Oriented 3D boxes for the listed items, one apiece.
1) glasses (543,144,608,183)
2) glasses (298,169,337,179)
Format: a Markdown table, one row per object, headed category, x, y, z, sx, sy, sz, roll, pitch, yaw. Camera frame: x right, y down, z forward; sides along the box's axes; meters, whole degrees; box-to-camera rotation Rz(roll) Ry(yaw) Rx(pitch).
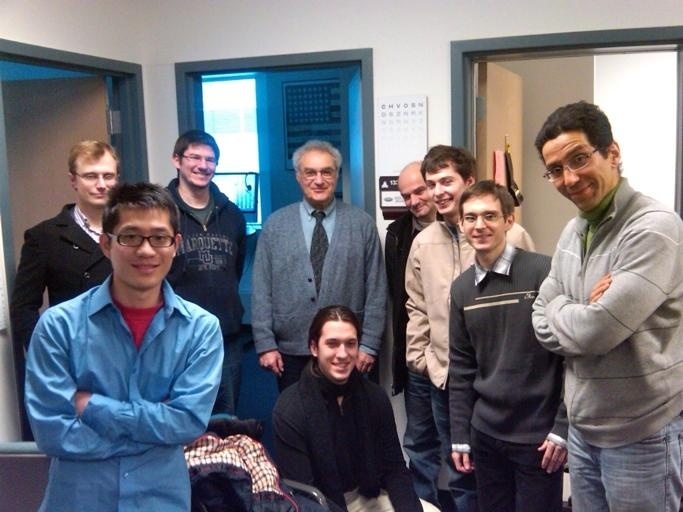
| category | x | y | z | sx | sy | sz | roll | pitch | yaw |
| --- | --- | --- | --- | --- | --- | --- | --- | --- | --- |
| glasses | 0.787 | -0.309 | 1.990 | 0.184 | 0.115 | 0.080 | 7 | 15 | 40 |
| glasses | -0.123 | -0.429 | 3.038 | 0.187 | 0.054 | 0.055 | -3 | 11 | -2 |
